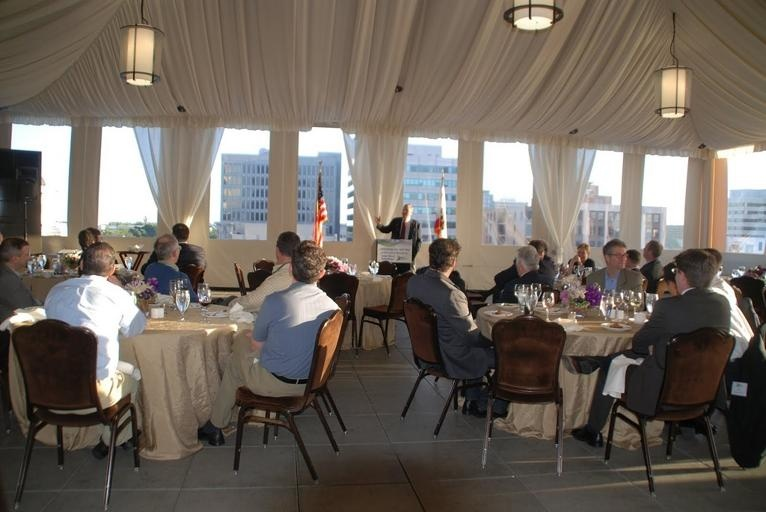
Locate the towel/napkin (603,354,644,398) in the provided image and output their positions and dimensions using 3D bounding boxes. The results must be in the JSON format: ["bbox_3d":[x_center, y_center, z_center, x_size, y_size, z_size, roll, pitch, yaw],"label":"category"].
[{"bbox_3d":[2.235,1.108,5.605,0.172,0.420,0.305,18,-12,-34],"label":"towel/napkin"}]

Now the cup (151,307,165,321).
[{"bbox_3d":[-2.201,0.554,5.934,0.112,0.118,0.116,2,6,0],"label":"cup"}]

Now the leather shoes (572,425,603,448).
[{"bbox_3d":[1.997,1.741,5.900,0.138,0.134,0.263,2,9,-43],"label":"leather shoes"}]

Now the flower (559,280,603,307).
[{"bbox_3d":[2.073,0.413,6.426,0.283,0.211,0.295,5,-4,-8],"label":"flower"}]

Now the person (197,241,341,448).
[{"bbox_3d":[-0.941,0.722,5.482,1.092,1.711,0.335,0,6,-2],"label":"person"}]

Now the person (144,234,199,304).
[{"bbox_3d":[-2.339,0.161,6.664,0.757,0.755,0.424,7,12,24],"label":"person"}]

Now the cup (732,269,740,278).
[{"bbox_3d":[5.873,0.290,10.028,0.094,0.128,0.129,9,18,14],"label":"cup"}]

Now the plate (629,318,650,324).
[{"bbox_3d":[2.616,0.654,6.177,0.130,0.095,0.134,-2,-6,40],"label":"plate"}]

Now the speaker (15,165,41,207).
[{"bbox_3d":[-6.477,-1.291,10.980,0.473,0.706,0.151,0,8,-39],"label":"speaker"}]

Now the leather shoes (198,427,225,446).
[{"bbox_3d":[-1.630,1.700,5.755,0.296,0.137,0.121,6,0,43],"label":"leather shoes"}]

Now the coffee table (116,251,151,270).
[{"bbox_3d":[-4.541,0.079,10.931,0.354,0.371,0.372,2,-5,-3],"label":"coffee table"}]

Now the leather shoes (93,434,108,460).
[{"bbox_3d":[-2.575,1.727,5.515,0.137,0.200,0.075,6,-30,-27],"label":"leather shoes"}]

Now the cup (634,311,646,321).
[{"bbox_3d":[2.621,0.611,6.162,0.088,0.093,0.087,0,-4,0],"label":"cup"}]

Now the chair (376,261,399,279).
[{"bbox_3d":[0.068,0.222,9.895,0.208,0.398,0.254,1,-8,7],"label":"chair"}]

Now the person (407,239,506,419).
[{"bbox_3d":[0.834,0.804,6.377,1.004,2.005,0.820,-7,13,-20],"label":"person"}]

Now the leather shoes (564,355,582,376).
[{"bbox_3d":[1.841,1.065,5.836,0.111,0.205,0.080,-25,-16,39],"label":"leather shoes"}]

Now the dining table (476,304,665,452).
[{"bbox_3d":[1.778,1.157,6.148,1.317,0.796,1.377,0,0,-5],"label":"dining table"}]

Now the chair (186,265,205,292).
[{"bbox_3d":[-2.364,0.271,7.592,0.290,0.401,0.274,2,11,-18],"label":"chair"}]

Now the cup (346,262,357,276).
[{"bbox_3d":[-0.504,0.211,9.793,0.132,0.145,0.254,1,3,-2],"label":"cup"}]

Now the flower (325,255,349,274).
[{"bbox_3d":[-0.673,0.137,8.715,0.257,0.163,0.269,3,-1,10],"label":"flower"}]

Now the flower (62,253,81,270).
[{"bbox_3d":[-4.262,0.075,8.281,0.191,0.155,0.199,2,-9,-9],"label":"flower"}]

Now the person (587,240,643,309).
[{"bbox_3d":[2.701,0.352,7.097,0.594,1.093,0.552,0,-2,32],"label":"person"}]

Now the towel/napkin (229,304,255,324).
[{"bbox_3d":[-1.412,0.573,5.990,0.167,0.067,0.209,17,8,-46],"label":"towel/napkin"}]

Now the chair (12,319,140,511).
[{"bbox_3d":[-2.618,1.285,5.147,0.901,1.571,0.487,0,6,-1],"label":"chair"}]
